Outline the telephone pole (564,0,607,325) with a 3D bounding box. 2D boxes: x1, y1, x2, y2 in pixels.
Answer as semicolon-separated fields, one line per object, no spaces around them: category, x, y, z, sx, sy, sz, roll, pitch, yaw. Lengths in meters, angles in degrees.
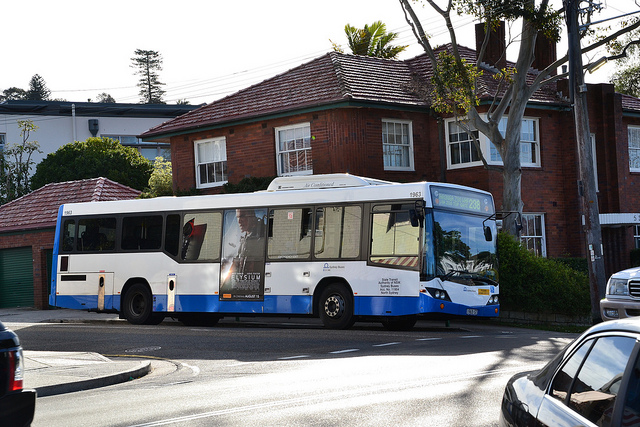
telephone pole;7.839;-1.671;19.493;0.750;9.838;1.147;-3;-4;21
